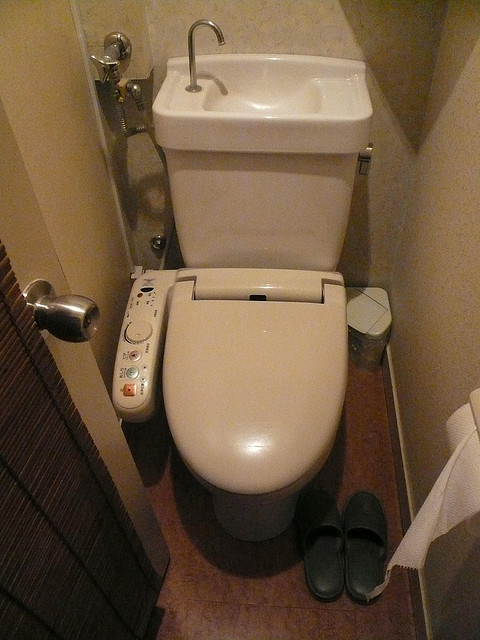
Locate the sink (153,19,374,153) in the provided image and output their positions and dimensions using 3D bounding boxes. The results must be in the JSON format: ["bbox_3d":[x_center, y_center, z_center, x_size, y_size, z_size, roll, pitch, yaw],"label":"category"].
[{"bbox_3d":[0.046,-0.471,0.896,0.410,0.200,0.291,-1,49,8],"label":"sink"}]

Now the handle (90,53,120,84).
[{"bbox_3d":[-0.256,-0.485,0.915,0.050,0.055,0.027,-21,44,-12],"label":"handle"}]

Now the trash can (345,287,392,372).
[{"bbox_3d":[0.368,0.019,1.380,0.122,0.179,0.212,3,48,11],"label":"trash can"}]

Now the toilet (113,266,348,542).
[{"bbox_3d":[0.004,0.103,0.925,0.360,0.398,0.577,1,56,5],"label":"toilet"}]
